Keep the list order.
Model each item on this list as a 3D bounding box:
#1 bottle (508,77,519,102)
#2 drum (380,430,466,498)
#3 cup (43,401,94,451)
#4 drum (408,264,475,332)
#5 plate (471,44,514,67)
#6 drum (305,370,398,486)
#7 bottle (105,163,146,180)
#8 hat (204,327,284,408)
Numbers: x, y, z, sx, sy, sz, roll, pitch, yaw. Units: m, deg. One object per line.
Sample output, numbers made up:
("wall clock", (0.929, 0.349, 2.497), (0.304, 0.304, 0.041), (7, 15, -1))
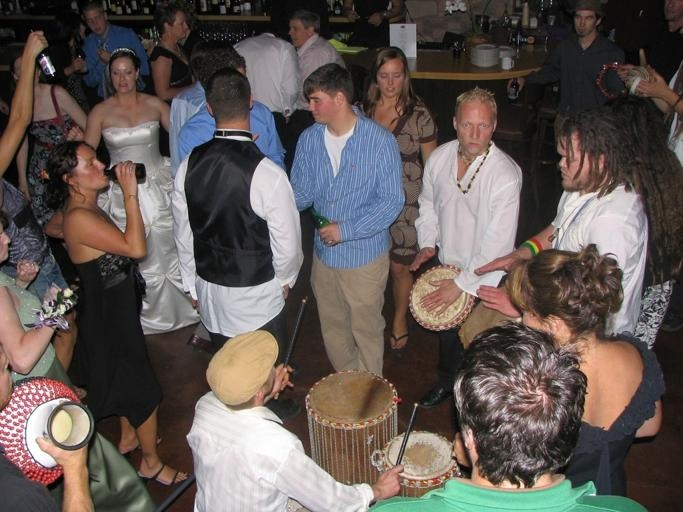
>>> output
("bottle", (1.915, -1.846, 6.502), (0.128, 0.244, 0.307), (2, 15, 15))
("drum", (0.413, 1.080, 3.122), (0.470, 0.250, 0.445), (-3, 29, 1))
("cup", (-1.064, 0.674, 2.291), (0.162, 0.138, 0.185), (-10, 17, -29))
("drum", (0.620, 0.270, 3.804), (0.401, 0.415, 0.139), (-24, -35, 31))
("plate", (1.798, -2.396, 6.979), (0.500, 0.284, 0.272), (-8, 16, -23))
("drum", (0.071, 0.942, 3.416), (0.541, 0.560, 0.549), (-2, 31, 1))
("bottle", (-1.348, -0.506, 3.637), (0.237, 0.133, 0.294), (-7, 16, -21))
("hat", (-0.396, 0.461, 2.372), (0.223, 0.294, 0.090), (33, -11, 16))
